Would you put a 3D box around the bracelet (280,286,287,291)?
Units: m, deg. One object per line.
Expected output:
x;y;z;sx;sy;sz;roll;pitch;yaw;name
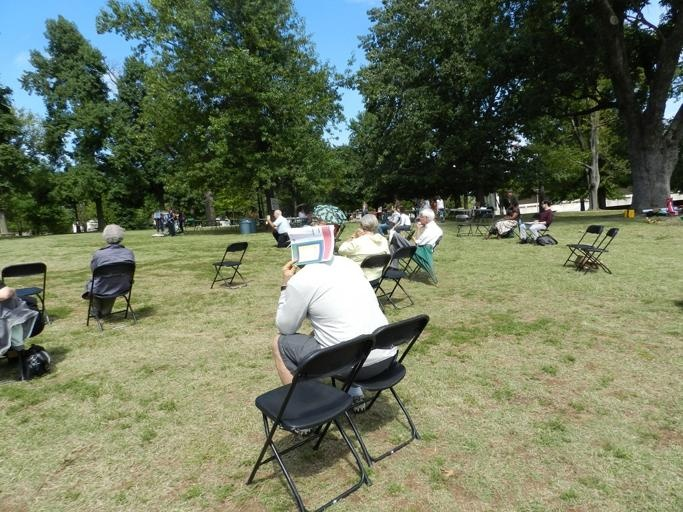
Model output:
-0.619;0.350;5.201;0.067;0.047;0.064;1;0;-2;bracelet

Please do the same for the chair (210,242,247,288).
-2.440;0.198;10.617;0.782;0.963;0.703;0;6;22;chair

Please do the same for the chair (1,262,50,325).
-5.222;0.564;8.104;0.553;0.994;2.136;-7;8;-32;chair

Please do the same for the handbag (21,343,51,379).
-4.032;1.414;6.306;0.324;0.400;0.241;19;26;14;handbag

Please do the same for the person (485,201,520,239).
6.107;-1.314;18.278;1.344;1.523;1.169;0;9;9;person

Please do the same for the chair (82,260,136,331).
-3.805;0.604;7.974;0.765;1.078;0.968;-7;8;-28;chair
